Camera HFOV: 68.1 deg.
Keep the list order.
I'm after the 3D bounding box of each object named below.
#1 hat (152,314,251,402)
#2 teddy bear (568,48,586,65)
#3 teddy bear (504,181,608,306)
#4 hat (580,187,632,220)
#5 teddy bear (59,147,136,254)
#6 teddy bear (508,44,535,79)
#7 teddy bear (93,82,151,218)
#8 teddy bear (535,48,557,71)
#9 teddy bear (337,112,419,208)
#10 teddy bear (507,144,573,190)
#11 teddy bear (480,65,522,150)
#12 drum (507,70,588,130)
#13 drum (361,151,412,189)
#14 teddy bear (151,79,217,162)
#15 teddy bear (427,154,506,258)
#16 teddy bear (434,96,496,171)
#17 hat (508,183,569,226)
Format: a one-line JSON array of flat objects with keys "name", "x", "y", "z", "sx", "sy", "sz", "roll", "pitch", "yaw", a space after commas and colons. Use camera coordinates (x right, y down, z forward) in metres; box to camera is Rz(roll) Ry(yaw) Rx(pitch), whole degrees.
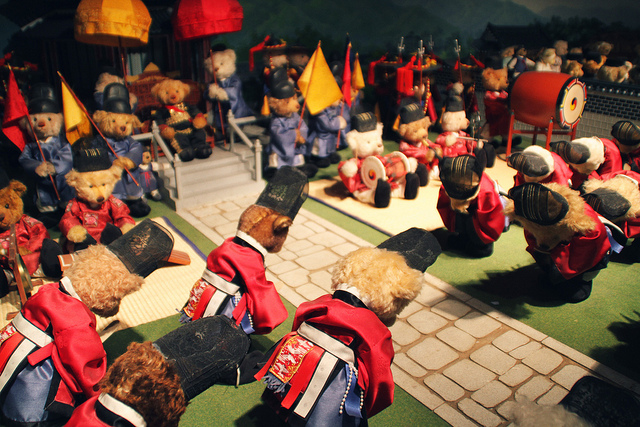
[{"name": "hat", "x": -1.110, "y": 1.265, "z": 4.291, "sx": 0.585, "sy": 0.284, "sz": 0.949, "roll": 43, "pitch": 34, "yaw": 23}, {"name": "teddy bear", "x": 7.166, "y": -4.400, "z": 13.200, "sx": 0.510, "sy": 0.536, "sz": 0.243, "roll": 8, "pitch": 37, "yaw": 21}, {"name": "teddy bear", "x": 3.074, "y": 0.276, "z": 6.201, "sx": 1.153, "sy": 1.705, "sz": 1.199, "roll": -23, "pitch": 23, "yaw": -25}, {"name": "hat", "x": 3.652, "y": -0.152, "z": 6.095, "sx": 0.431, "sy": 0.375, "sz": 0.521, "roll": -11, "pitch": 26, "yaw": -27}, {"name": "teddy bear", "x": -3.248, "y": -0.058, "z": 7.004, "sx": 1.104, "sy": 1.647, "sz": 1.104, "roll": 14, "pitch": 25, "yaw": -5}, {"name": "teddy bear", "x": 4.820, "y": -3.494, "z": 11.227, "sx": 0.664, "sy": 0.958, "sz": 0.314, "roll": -1, "pitch": -10, "yaw": 4}, {"name": "teddy bear", "x": -3.485, "y": -1.055, "z": 8.214, "sx": 0.815, "sy": 2.329, "sz": 0.866, "roll": 13, "pitch": 21, "yaw": 16}, {"name": "teddy bear", "x": 5.719, "y": -3.864, "z": 11.947, "sx": 0.400, "sy": 0.497, "sz": 0.941, "roll": 10, "pitch": 27, "yaw": 26}, {"name": "teddy bear", "x": 1.023, "y": -0.997, "z": 8.926, "sx": 1.479, "sy": 1.779, "sz": 1.317, "roll": -7, "pitch": 30, "yaw": -9}, {"name": "teddy bear", "x": 3.228, "y": -0.788, "z": 6.890, "sx": 0.973, "sy": 0.579, "sz": 1.352, "roll": -2, "pitch": 11, "yaw": 39}, {"name": "teddy bear", "x": 4.059, "y": -2.441, "z": 10.781, "sx": 0.915, "sy": 1.761, "sz": 0.723, "roll": -19, "pitch": 23, "yaw": -34}, {"name": "drum", "x": 4.366, "y": -2.200, "z": 9.155, "sx": 0.676, "sy": 1.009, "sz": 1.263, "roll": -14, "pitch": 27, "yaw": -22}, {"name": "drum", "x": 1.212, "y": -0.725, "z": 8.568, "sx": 1.082, "sy": 0.635, "sz": 0.971, "roll": -7, "pitch": 23, "yaw": -21}, {"name": "teddy bear", "x": -2.737, "y": -1.889, "z": 9.416, "sx": 0.867, "sy": 1.472, "sz": 1.437, "roll": -21, "pitch": 32, "yaw": -35}, {"name": "teddy bear", "x": 2.241, "y": -0.175, "z": 7.017, "sx": 0.919, "sy": 1.438, "sz": 1.112, "roll": 2, "pitch": 15, "yaw": 19}, {"name": "teddy bear", "x": 2.925, "y": -1.593, "z": 9.582, "sx": 1.222, "sy": 1.526, "sz": 1.151, "roll": -14, "pitch": 20, "yaw": -27}, {"name": "hat", "x": 2.646, "y": -0.103, "z": 5.676, "sx": 0.469, "sy": 0.489, "sz": 0.625, "roll": -10, "pitch": 27, "yaw": -25}]
